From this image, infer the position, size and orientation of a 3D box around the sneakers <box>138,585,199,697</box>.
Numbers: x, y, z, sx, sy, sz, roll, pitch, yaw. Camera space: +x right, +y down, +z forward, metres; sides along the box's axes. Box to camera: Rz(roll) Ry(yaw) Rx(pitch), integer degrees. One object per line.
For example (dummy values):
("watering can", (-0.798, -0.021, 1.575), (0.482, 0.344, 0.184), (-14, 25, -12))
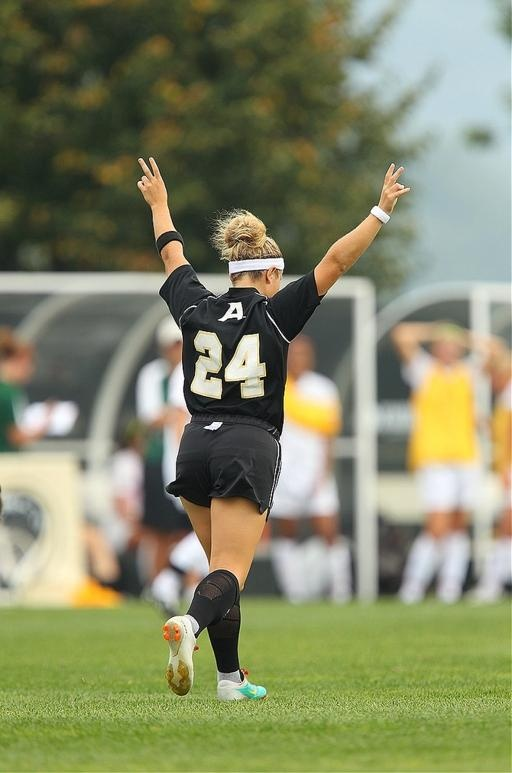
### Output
("sneakers", (-0.251, 0.743, 3.316), (0.094, 0.241, 0.141), (-4, 0, 27))

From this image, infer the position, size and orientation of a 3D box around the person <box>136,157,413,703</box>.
("person", (-0.089, 0.111, 3.692), (0.981, 1.604, 0.823), (3, 4, 34))

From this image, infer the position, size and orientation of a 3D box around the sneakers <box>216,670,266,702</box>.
("sneakers", (-0.052, 0.984, 3.831), (0.191, 0.079, 0.067), (5, -4, -41))

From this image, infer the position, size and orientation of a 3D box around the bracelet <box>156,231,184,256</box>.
("bracelet", (-0.303, -0.518, 4.122), (0.088, 0.083, 0.064), (-33, 42, -15))
